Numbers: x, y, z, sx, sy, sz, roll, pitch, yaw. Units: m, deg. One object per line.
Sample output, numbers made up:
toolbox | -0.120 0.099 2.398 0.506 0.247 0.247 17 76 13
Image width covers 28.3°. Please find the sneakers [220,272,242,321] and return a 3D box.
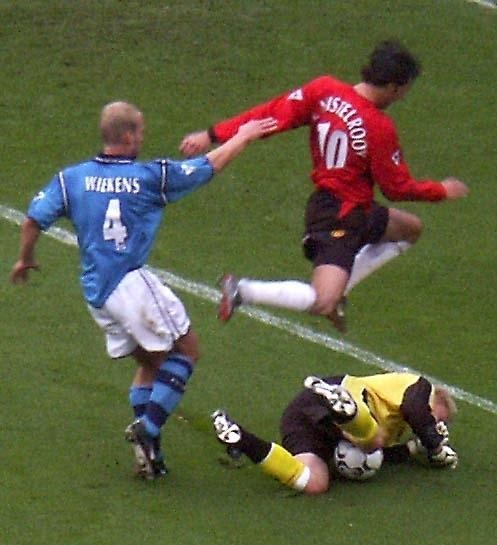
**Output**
sneakers | -0.093 0.138 5.534 0.108 0.259 0.123 5 9 3

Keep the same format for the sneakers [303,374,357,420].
sneakers | 0.423 0.623 4.886 0.276 0.154 0.126 13 0 0

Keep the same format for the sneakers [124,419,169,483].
sneakers | -0.516 0.924 5.113 0.204 0.371 0.156 3 38 0

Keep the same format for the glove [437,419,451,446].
glove | 1.033 0.842 5.185 0.062 0.127 0.132 -4 2 30

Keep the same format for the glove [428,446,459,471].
glove | 1.039 0.957 5.179 0.166 0.196 0.102 0 63 2

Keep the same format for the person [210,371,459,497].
person | 0.560 0.814 5.091 1.361 0.577 0.499 7 60 -18

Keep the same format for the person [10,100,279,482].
person | -0.763 0.047 5.291 1.108 1.730 1.336 11 37 11
